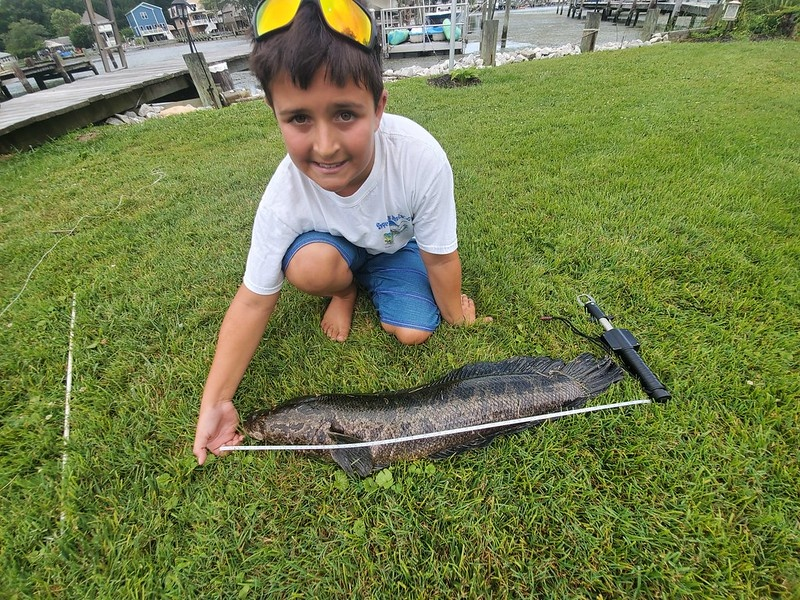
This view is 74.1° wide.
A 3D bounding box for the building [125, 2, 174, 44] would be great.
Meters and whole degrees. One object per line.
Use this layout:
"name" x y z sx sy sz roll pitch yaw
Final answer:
"building" -26.642 -29.427 55.962 3.653 3.674 2.921 -19 39 -18
